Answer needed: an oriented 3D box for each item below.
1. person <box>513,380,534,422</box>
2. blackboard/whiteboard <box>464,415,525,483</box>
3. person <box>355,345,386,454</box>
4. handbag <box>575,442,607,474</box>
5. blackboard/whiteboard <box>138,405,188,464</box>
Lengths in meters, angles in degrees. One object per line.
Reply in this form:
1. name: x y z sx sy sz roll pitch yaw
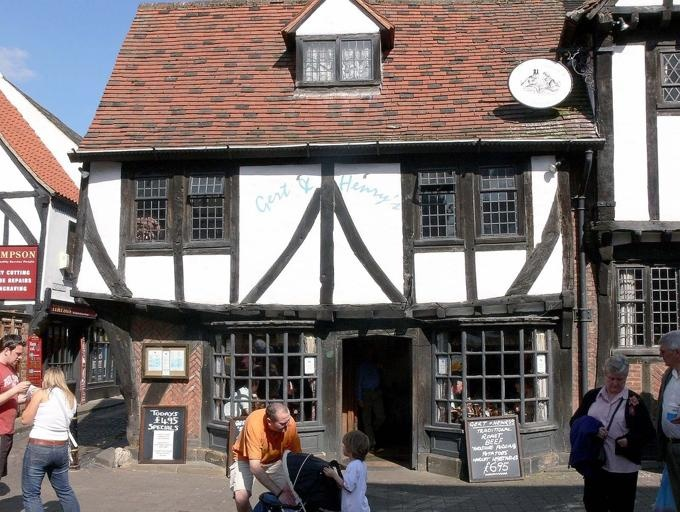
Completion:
1. person: 3.562 2.789 15.840 0.422 0.815 0.113 1 -8 -18
2. blackboard/whiteboard: 2.859 3.641 15.342 1.115 1.436 0.096 0 -25 -3
3. person: 0.638 3.094 17.675 0.592 2.174 0.770 -1 -7 2
4. handbag: 3.382 2.692 11.034 0.388 0.591 0.292 15 -18 -22
5. blackboard/whiteboard: -3.484 3.508 16.079 1.020 1.343 0.092 0 -16 -4
